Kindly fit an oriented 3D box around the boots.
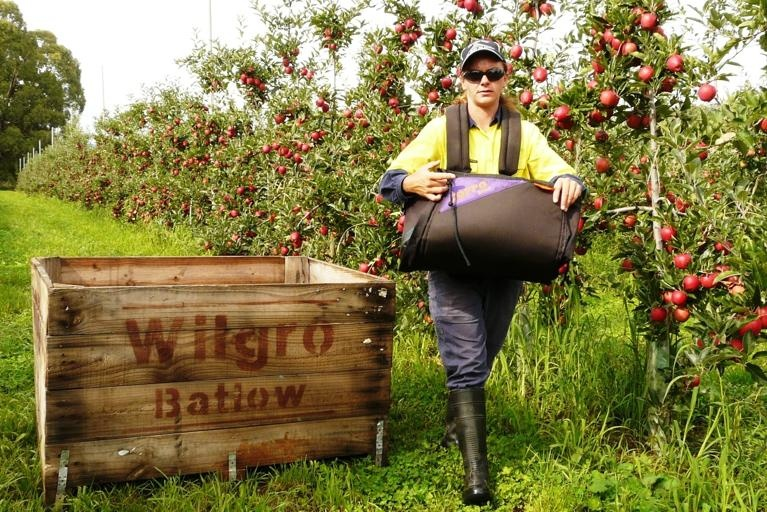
[{"bbox_3d":[0.540,1.179,4.040,0.266,0.715,0.187,0,-5,10],"label":"boots"}]
